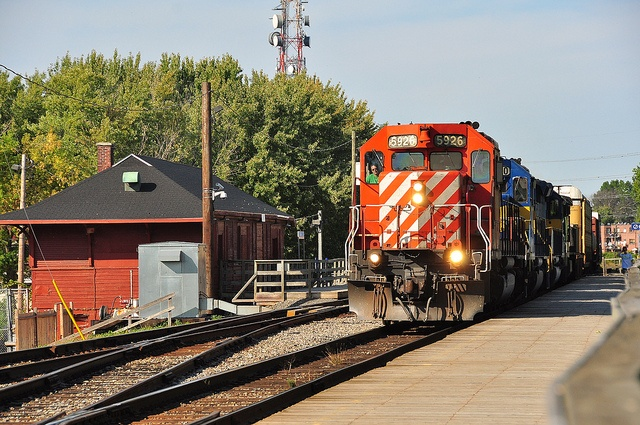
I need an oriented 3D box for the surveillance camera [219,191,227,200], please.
[{"bbox_3d":[-4.367,-0.722,35.248,0.379,0.358,0.645,-1,1,-1],"label":"surveillance camera"}]
